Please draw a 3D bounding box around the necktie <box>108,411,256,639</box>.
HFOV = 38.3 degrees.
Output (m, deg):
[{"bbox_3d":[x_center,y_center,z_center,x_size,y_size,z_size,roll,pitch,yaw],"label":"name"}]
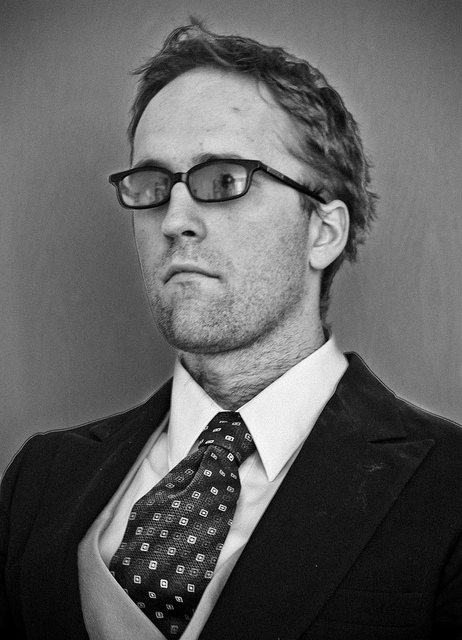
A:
[{"bbox_3d":[-0.077,0.441,1.509,0.177,0.112,0.504,15,50,20],"label":"necktie"}]
